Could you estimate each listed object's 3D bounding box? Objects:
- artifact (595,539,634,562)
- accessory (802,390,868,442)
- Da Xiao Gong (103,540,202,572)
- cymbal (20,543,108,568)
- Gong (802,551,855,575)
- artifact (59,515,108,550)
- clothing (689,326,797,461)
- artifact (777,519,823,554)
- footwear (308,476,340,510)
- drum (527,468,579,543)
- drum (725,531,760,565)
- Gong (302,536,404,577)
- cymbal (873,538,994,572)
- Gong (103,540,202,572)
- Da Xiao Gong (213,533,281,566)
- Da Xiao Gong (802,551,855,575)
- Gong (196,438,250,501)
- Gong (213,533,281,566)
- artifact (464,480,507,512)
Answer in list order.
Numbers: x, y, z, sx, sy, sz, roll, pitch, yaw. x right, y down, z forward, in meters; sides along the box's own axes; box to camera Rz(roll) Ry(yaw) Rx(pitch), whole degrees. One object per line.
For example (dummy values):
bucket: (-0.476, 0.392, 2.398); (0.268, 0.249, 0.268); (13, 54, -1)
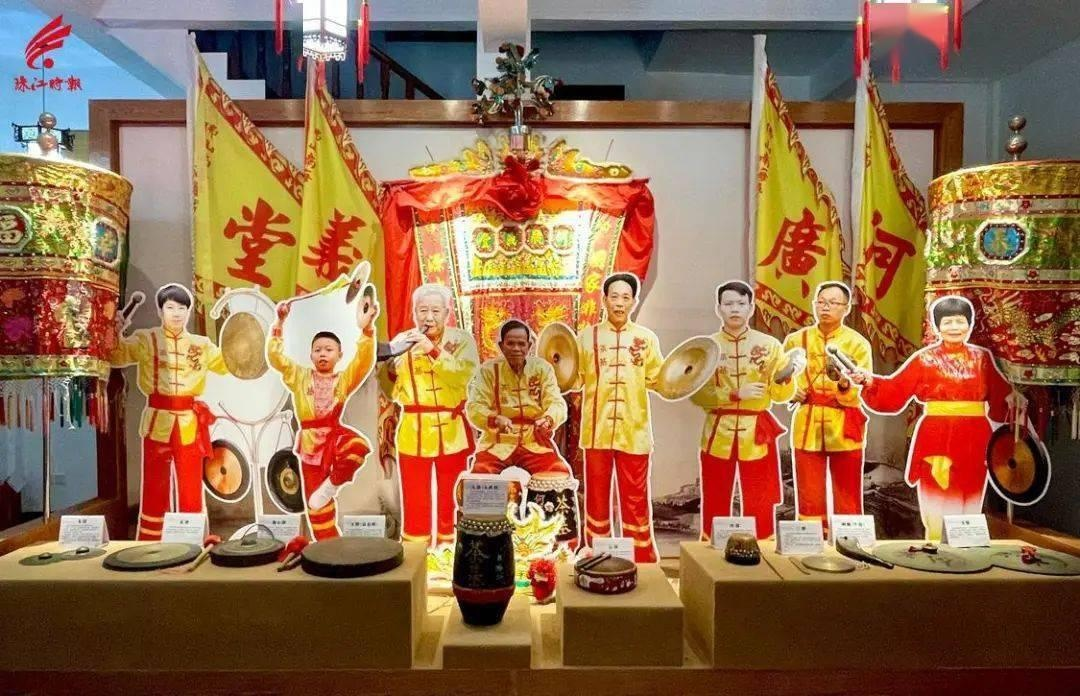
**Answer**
artifact: (0.401, 1.071, 5.353); (0.151, 0.043, 0.160); (0, 2, -4)
accessory: (1.702, 0.365, 5.656); (0.251, 0.335, 0.126); (8, 2, 22)
Da Xiao Gong: (-2.011, 1.083, 5.192); (0.476, 0.098, 0.307); (1, -2, -19)
cymbal: (-2.494, 1.084, 5.219); (0.409, 0.060, 0.150); (1, -2, -24)
Gong: (1.472, 1.105, 5.111); (0.281, 0.058, 0.176); (0, -2, 6)
artifact: (-2.449, 0.995, 5.352); (0.170, 0.117, 0.058); (2, 2, 0)
clothing: (1.169, 0.247, 5.676); (0.801, 0.966, 0.505); (0, -1, 3)
artifact: (1.370, 1.000, 5.254); (0.166, 0.114, 0.054); (0, -2, 0)
footwear: (-1.237, 0.840, 5.747); (0.123, 0.205, 0.081); (40, -2, -7)
drum: (0.049, 0.908, 5.921); (0.378, 0.520, 0.372); (-1, 1, 0)
drum: (1.052, 1.040, 5.187); (0.155, 0.104, 0.154); (0, -5, 0)
Gong: (-0.968, 1.079, 5.169); (0.525, 0.154, 0.382); (1, -2, -9)
cymbal: (2.030, 1.082, 5.174); (0.581, 0.107, 0.314); (0, -2, 16)
Gong: (-2.011, 1.083, 5.192); (0.476, 0.098, 0.307); (1, -2, -19)
Da Xiao Gong: (-1.528, 1.059, 5.218); (0.363, 0.123, 0.276); (1, -2, -24)
Da Xiao Gong: (1.472, 1.105, 5.111); (0.281, 0.058, 0.176); (0, -2, 6)
Gong: (-1.831, 0.683, 5.758); (0.352, 0.379, 0.052); (3, 11, 11)
Gong: (-1.528, 1.059, 5.218); (0.363, 0.123, 0.276); (1, -2, -24)
artifact: (-0.290, 0.779, 5.251); (0.280, 0.192, 0.152); (1, -2, 1)
